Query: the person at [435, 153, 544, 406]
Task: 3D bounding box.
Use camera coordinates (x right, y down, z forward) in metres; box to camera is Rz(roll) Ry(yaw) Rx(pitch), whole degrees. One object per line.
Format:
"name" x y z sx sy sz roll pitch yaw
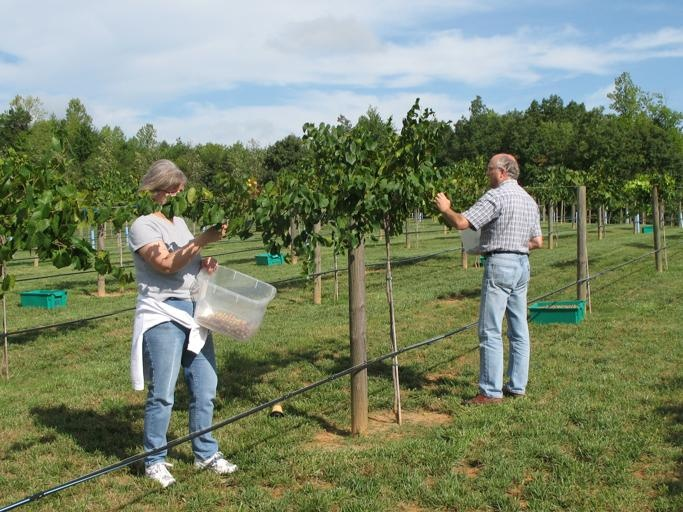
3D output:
"person" 1.664 0.233 7.057 1.208 2.617 0.494 -8 9 -38

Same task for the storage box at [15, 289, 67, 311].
"storage box" -5.883 0.863 12.992 0.612 0.271 0.452 0 0 22

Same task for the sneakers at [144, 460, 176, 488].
"sneakers" -1.596 1.898 5.794 0.272 0.133 0.163 18 23 36

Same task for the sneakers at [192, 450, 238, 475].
"sneakers" -1.135 1.870 5.934 0.350 0.183 0.178 1 -1 3

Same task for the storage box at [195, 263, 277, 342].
"storage box" -0.943 0.438 6.000 0.701 0.528 0.574 20 -7 9

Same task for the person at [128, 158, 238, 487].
"person" -1.439 0.579 5.747 0.806 2.835 0.558 -5 7 -21

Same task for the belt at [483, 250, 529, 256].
"belt" 1.733 -0.039 6.978 0.473 0.081 0.198 -1 9 12

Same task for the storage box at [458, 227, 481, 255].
"storage box" 1.445 -0.163 7.401 0.250 0.253 0.219 1 3 37

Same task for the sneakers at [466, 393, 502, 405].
"sneakers" 1.515 1.517 6.976 0.360 0.176 0.142 2 -6 13
